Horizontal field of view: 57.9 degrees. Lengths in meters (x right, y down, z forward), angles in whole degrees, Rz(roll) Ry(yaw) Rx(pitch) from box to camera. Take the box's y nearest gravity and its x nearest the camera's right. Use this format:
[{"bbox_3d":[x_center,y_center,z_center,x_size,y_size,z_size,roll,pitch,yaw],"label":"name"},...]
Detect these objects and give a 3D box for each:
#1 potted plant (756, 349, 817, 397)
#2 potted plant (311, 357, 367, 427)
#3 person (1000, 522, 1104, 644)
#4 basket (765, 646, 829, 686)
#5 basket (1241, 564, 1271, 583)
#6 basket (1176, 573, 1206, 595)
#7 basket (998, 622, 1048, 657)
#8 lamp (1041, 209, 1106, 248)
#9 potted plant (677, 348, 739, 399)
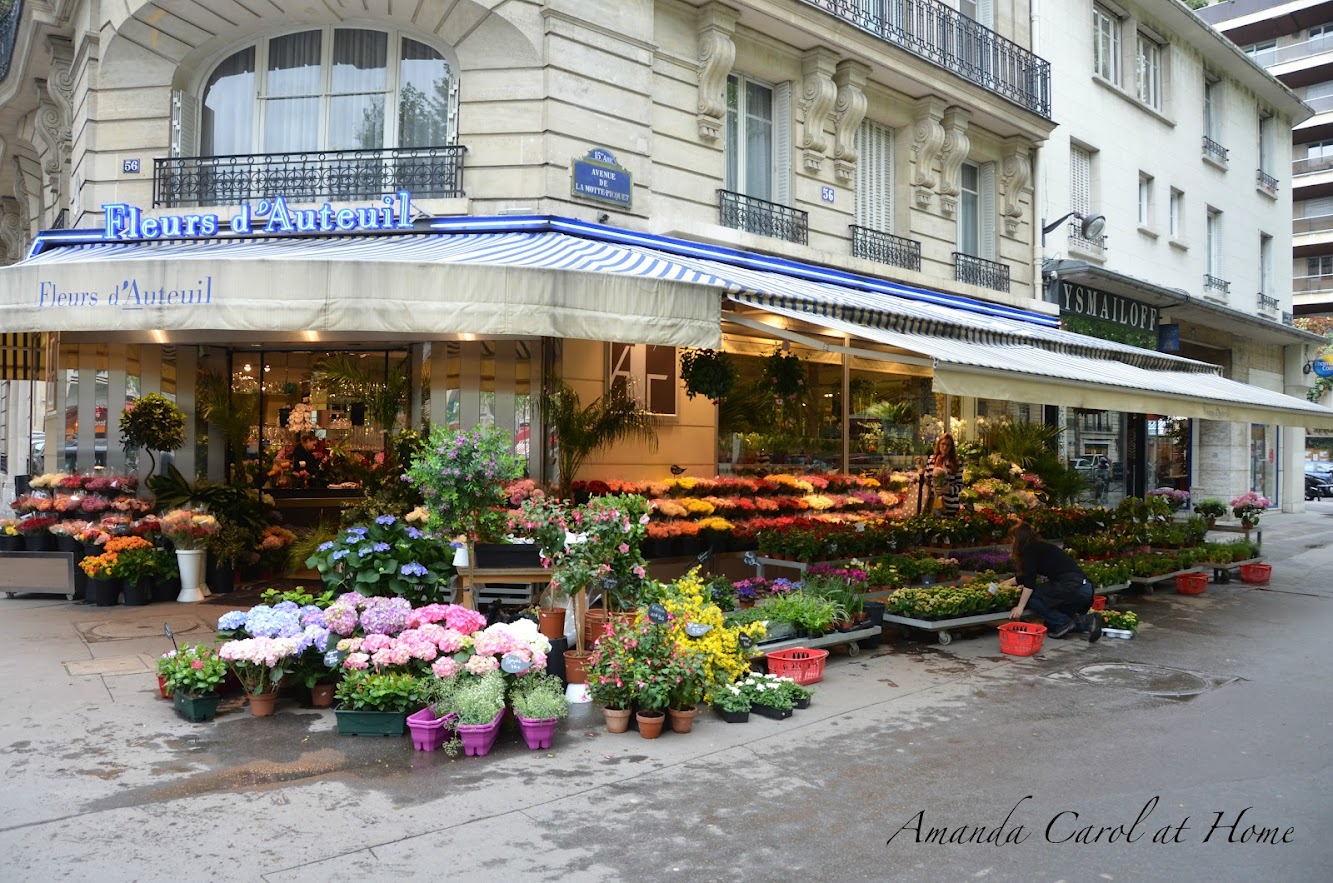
[{"bbox_3d":[1.882,-1.057,18.716,0.771,0.777,0.723,6,-11,-26],"label":"potted plant"},{"bbox_3d":[-5.707,-0.857,19.979,1.240,1.285,1.146,-2,3,-9],"label":"potted plant"},{"bbox_3d":[5.138,1.873,16.074,1.233,1.456,1.079,-2,-11,23],"label":"person"},{"bbox_3d":[1.502,2.557,13.774,0.564,0.220,0.418,4,-5,-35],"label":"basket"},{"bbox_3d":[9.740,2.185,19.889,0.360,0.240,0.359,-2,-2,35],"label":"basket"},{"bbox_3d":[8.161,2.218,18.725,0.409,0.287,0.332,0,0,21],"label":"basket"},{"bbox_3d":[4.482,2.460,15.005,0.431,0.251,0.496,-2,-9,39],"label":"basket"},{"bbox_3d":[8.681,-4.706,26.106,1.507,0.698,0.856,1,0,27],"label":"lamp"},{"bbox_3d":[0.641,-1.003,18.297,0.784,0.516,0.743,-8,41,-29],"label":"potted plant"}]
